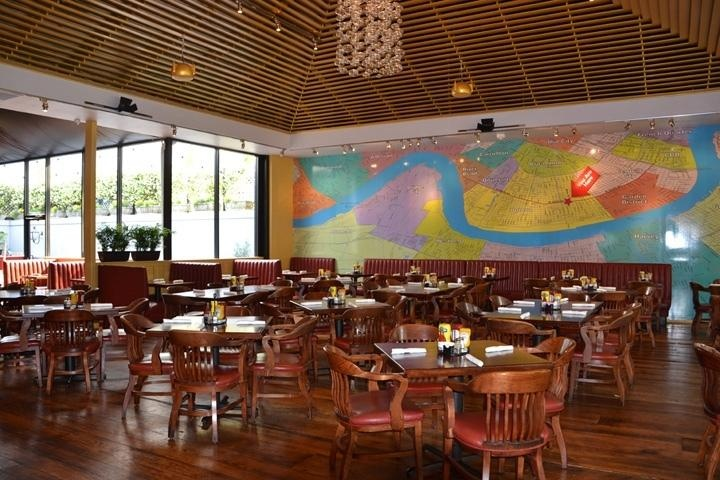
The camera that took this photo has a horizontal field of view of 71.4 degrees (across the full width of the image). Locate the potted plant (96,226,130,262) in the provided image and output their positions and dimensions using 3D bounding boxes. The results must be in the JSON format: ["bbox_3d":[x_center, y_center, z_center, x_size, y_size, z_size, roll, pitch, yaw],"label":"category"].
[{"bbox_3d":[-5.443,0.089,11.216,0.665,0.792,0.306,1,-3,-23],"label":"potted plant"}]

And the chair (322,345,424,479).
[{"bbox_3d":[0.180,1.698,5.194,0.916,1.331,1.315,0,-3,4],"label":"chair"}]

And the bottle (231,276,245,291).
[{"bbox_3d":[-2.226,0.809,9.292,0.265,0.194,0.172,2,3,2],"label":"bottle"}]

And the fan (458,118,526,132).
[{"bbox_3d":[3.198,-2.815,12.294,1.581,0.329,0.309,-1,-3,15],"label":"fan"}]

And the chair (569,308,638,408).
[{"bbox_3d":[3.393,1.560,7.034,0.783,1.222,1.478,-2,-4,27],"label":"chair"}]

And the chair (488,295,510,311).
[{"bbox_3d":[2.133,0.986,7.727,0.262,0.299,0.296,-8,-5,44],"label":"chair"}]

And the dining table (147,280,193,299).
[{"bbox_3d":[-3.964,0.983,10.546,0.833,0.402,0.756,2,2,15],"label":"dining table"}]

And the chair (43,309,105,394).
[{"bbox_3d":[-4.100,1.520,7.240,0.963,0.969,0.917,-4,-5,26],"label":"chair"}]

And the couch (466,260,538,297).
[{"bbox_3d":[3.500,1.067,12.838,2.020,1.070,0.791,0,-1,22],"label":"couch"}]

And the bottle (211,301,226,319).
[{"bbox_3d":[-1.732,0.879,6.283,0.241,0.208,0.211,1,-5,-5],"label":"bottle"}]

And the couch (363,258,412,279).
[{"bbox_3d":[0.773,0.736,14.218,1.282,0.611,0.458,-1,-10,12],"label":"couch"}]

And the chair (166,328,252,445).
[{"bbox_3d":[-1.754,1.631,5.931,0.888,1.243,1.089,1,-3,-17],"label":"chair"}]

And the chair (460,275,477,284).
[{"bbox_3d":[2.278,0.833,10.496,0.301,0.113,0.415,0,-3,-11],"label":"chair"}]

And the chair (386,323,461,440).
[{"bbox_3d":[0.694,1.416,5.917,0.693,0.628,0.923,-2,-39,3],"label":"chair"}]

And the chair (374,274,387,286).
[{"bbox_3d":[0.474,0.860,10.648,0.215,0.175,0.188,-1,1,-28],"label":"chair"}]

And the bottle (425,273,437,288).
[{"bbox_3d":[1.422,0.787,9.709,0.308,0.323,0.204,3,-5,-3],"label":"bottle"}]

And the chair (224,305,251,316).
[{"bbox_3d":[-1.663,0.978,6.952,0.228,0.225,0.214,3,2,10],"label":"chair"}]

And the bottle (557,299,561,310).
[{"bbox_3d":[2.785,0.903,7.065,0.019,0.158,0.193,-2,-3,43],"label":"bottle"}]

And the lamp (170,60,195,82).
[{"bbox_3d":[-3.024,-2.970,8.744,0.313,0.362,0.459,0,-3,-10],"label":"lamp"}]

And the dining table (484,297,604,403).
[{"bbox_3d":[2.359,1.548,6.929,1.674,0.887,1.474,4,-6,-16],"label":"dining table"}]

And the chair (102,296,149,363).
[{"bbox_3d":[-3.506,1.370,7.600,0.806,0.848,0.755,-4,-2,-34],"label":"chair"}]

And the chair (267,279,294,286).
[{"bbox_3d":[-1.436,0.826,9.640,0.226,0.109,0.212,0,2,-38],"label":"chair"}]

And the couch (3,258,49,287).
[{"bbox_3d":[-8.909,0.825,13.574,1.011,0.671,1.590,2,-4,-30],"label":"couch"}]

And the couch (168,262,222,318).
[{"bbox_3d":[-3.469,1.016,11.189,1.262,1.398,1.289,3,-7,-25],"label":"couch"}]
